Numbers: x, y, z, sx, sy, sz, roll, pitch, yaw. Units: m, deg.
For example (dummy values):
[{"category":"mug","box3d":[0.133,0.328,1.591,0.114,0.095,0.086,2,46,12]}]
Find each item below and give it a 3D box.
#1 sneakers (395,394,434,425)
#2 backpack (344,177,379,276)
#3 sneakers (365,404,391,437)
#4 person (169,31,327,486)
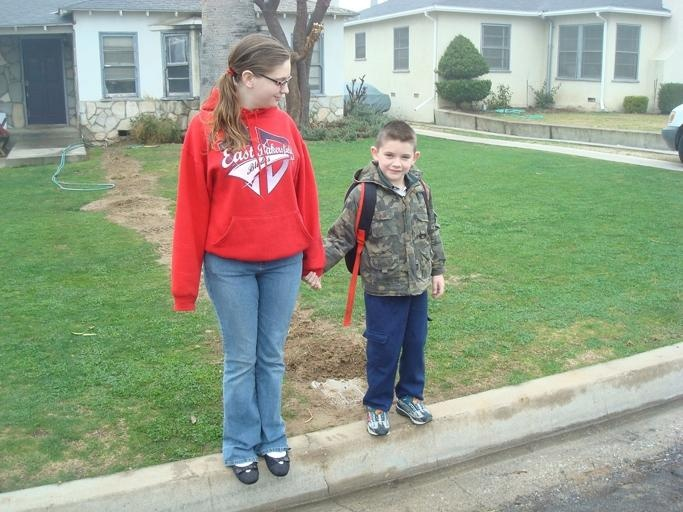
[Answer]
[{"category":"sneakers","box3d":[0.463,0.984,3.787,0.268,0.118,0.116,12,21,41]},{"category":"backpack","box3d":[0.102,-0.218,3.674,0.193,0.634,0.254,-5,14,-20]},{"category":"sneakers","box3d":[0.228,1.034,3.679,0.099,0.097,0.224,-1,4,-10]},{"category":"person","box3d":[-0.511,0.018,3.301,0.638,2.468,0.711,6,15,24]}]
